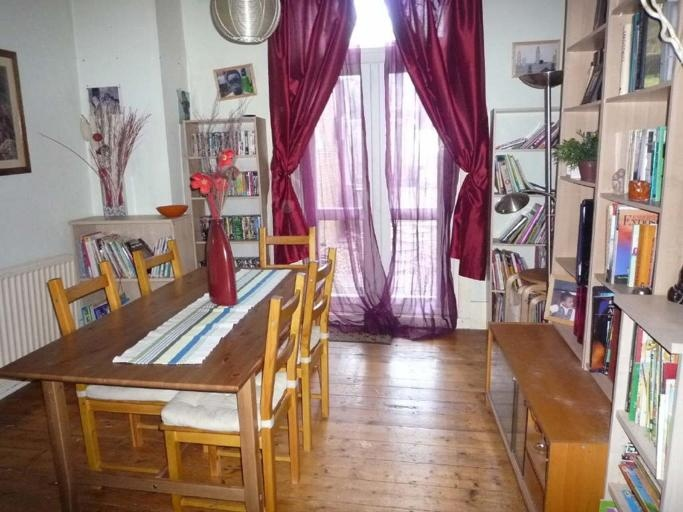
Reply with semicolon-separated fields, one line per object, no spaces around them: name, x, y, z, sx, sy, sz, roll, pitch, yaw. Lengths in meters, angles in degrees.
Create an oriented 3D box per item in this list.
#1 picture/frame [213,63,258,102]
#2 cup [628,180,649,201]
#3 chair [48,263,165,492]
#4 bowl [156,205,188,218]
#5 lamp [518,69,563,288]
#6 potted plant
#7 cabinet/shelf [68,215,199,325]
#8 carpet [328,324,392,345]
picture/frame;-0.939;-1.569;4.732;0.302;0.272;0.034;-8;15;11
cup;1.391;-0.303;2.446;0.086;0.098;0.086;1;2;0
chair;-1.163;0.650;3.041;0.764;1.166;0.789;-5;13;-18
bowl;-1.442;-0.387;4.522;0.224;0.107;0.275;7;15;43
lamp;1.497;-0.611;3.769;0.316;1.541;0.324;10;-15;-22
potted plant;-2.154;-0.815;4.540;0.918;0.972;0.540;-11;11;-36
cabinet/shelf;-1.566;0.097;3.852;0.738;0.743;0.291;-8;11;-25
carpet;0.164;0.693;4.659;0.581;0.091;0.214;-1;11;10
